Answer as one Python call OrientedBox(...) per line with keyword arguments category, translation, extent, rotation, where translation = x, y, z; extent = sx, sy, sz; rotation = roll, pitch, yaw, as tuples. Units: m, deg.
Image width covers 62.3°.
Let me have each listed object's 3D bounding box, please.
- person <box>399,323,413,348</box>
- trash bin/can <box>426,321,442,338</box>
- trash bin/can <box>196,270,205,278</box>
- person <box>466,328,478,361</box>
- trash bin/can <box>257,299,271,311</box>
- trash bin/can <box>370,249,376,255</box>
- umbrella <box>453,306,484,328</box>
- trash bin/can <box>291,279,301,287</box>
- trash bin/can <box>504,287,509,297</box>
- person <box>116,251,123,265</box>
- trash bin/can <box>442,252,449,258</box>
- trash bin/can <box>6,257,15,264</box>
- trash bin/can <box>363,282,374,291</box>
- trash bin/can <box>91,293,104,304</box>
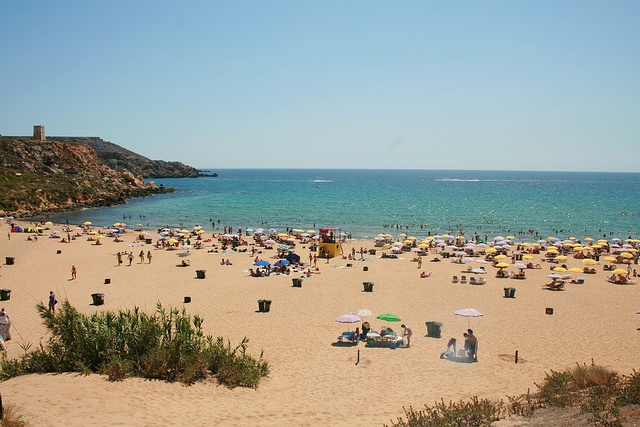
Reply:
OrientedBox(category="person", translation=(4.766, 6.592, 29.125), extent=(0.583, 0.965, 1.545), rotation=(3, 10, 10))
OrientedBox(category="trash bin/can", translation=(6.449, 6.501, 30.001), extent=(0.927, 0.826, 0.784), rotation=(2, 2, 21))
OrientedBox(category="trash bin/can", translation=(-9.042, 4.569, 39.889), extent=(0.713, 0.535, 0.806), rotation=(-1, 10, -9))
OrientedBox(category="person", translation=(7.878, 6.763, 27.406), extent=(0.562, 1.460, 0.592), rotation=(1, 10, 3))
OrientedBox(category="trash bin/can", translation=(-3.519, 5.717, 32.972), extent=(0.860, 0.586, 0.660), rotation=(1, -4, 0))
OrientedBox(category="trash bin/can", translation=(5.022, 3.678, 50.863), extent=(0.613, 0.442, 1.060), rotation=(2, 10, 6))
OrientedBox(category="umbrella", translation=(8.288, 5.809, 29.660), extent=(1.167, 0.928, 1.117), rotation=(4, -5, -4))
OrientedBox(category="trash bin/can", translation=(-1.709, 4.957, 38.078), extent=(0.590, 0.552, 0.673), rotation=(-3, 3, 17))
OrientedBox(category="trash bin/can", translation=(12.857, 5.390, 36.360), extent=(0.351, 0.575, 0.697), rotation=(5, 11, 20))
OrientedBox(category="person", translation=(-17.107, 3.782, 44.911), extent=(0.296, 0.812, 0.757), rotation=(-5, 12, -15))
OrientedBox(category="trash bin/can", translation=(11.882, 3.882, 50.172), extent=(0.651, 0.406, 0.397), rotation=(0, -1, 4))
OrientedBox(category="trash bin/can", translation=(-24.792, 3.728, 42.268), extent=(0.547, 0.558, 0.628), rotation=(1, 2, 31))
OrientedBox(category="trash bin/can", translation=(3.402, 5.116, 37.334), extent=(0.641, 0.575, 0.957), rotation=(1, 10, -2))
OrientedBox(category="trash bin/can", translation=(-14.251, 5.351, 33.612), extent=(0.769, 0.715, 0.665), rotation=(5, 8, 16))
